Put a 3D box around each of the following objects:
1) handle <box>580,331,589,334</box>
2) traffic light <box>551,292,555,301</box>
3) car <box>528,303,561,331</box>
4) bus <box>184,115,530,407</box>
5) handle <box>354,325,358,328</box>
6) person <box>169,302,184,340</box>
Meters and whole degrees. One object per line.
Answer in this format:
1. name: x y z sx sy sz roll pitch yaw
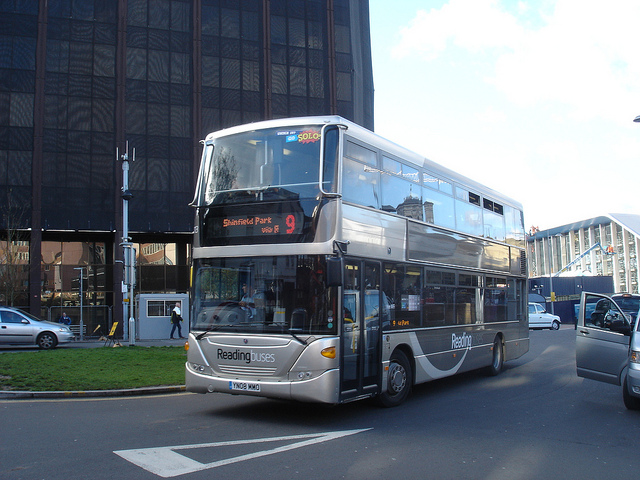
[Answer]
1. handle: 5.590 1.953 11.958 0.183 0.048 0.034 -4 -6 42
2. traffic light: 21.648 5.337 52.681 0.180 0.647 0.828 -1 -4 15
3. car: 15.846 5.549 40.623 2.786 1.652 1.547 -2 0 -30
4. bus: 2.078 0.819 14.676 3.736 5.407 11.186 -4 -8 37
5. handle: 0.669 1.572 10.294 0.023 0.045 0.133 -2 -5 30
6. person: -7.267 4.128 28.633 0.594 1.824 1.083 1 -4 -15
